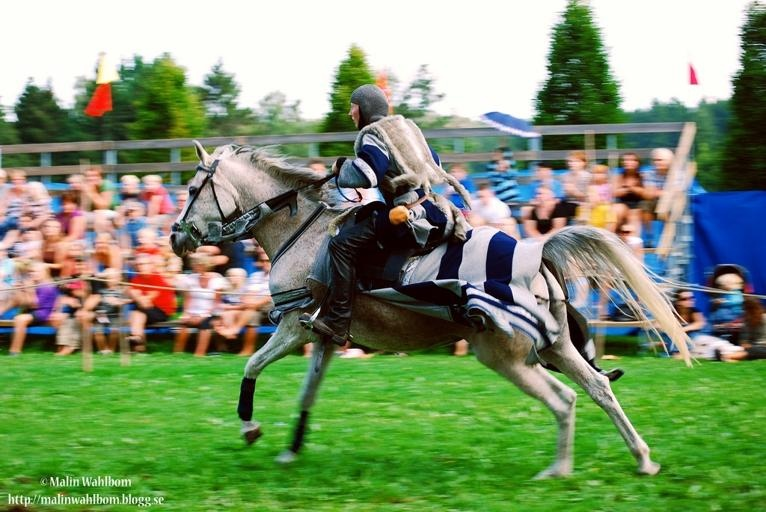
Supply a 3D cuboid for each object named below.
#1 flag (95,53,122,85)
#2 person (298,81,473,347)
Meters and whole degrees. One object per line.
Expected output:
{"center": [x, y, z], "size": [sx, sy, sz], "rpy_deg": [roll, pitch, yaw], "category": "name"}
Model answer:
{"center": [-4.180, -2.856, 14.654], "size": [0.299, 0.423, 0.595], "rpy_deg": [0, 4, -15], "category": "flag"}
{"center": [0.016, -0.425, 9.658], "size": [1.551, 2.609, 0.544], "rpy_deg": [1, 6, -3], "category": "person"}
